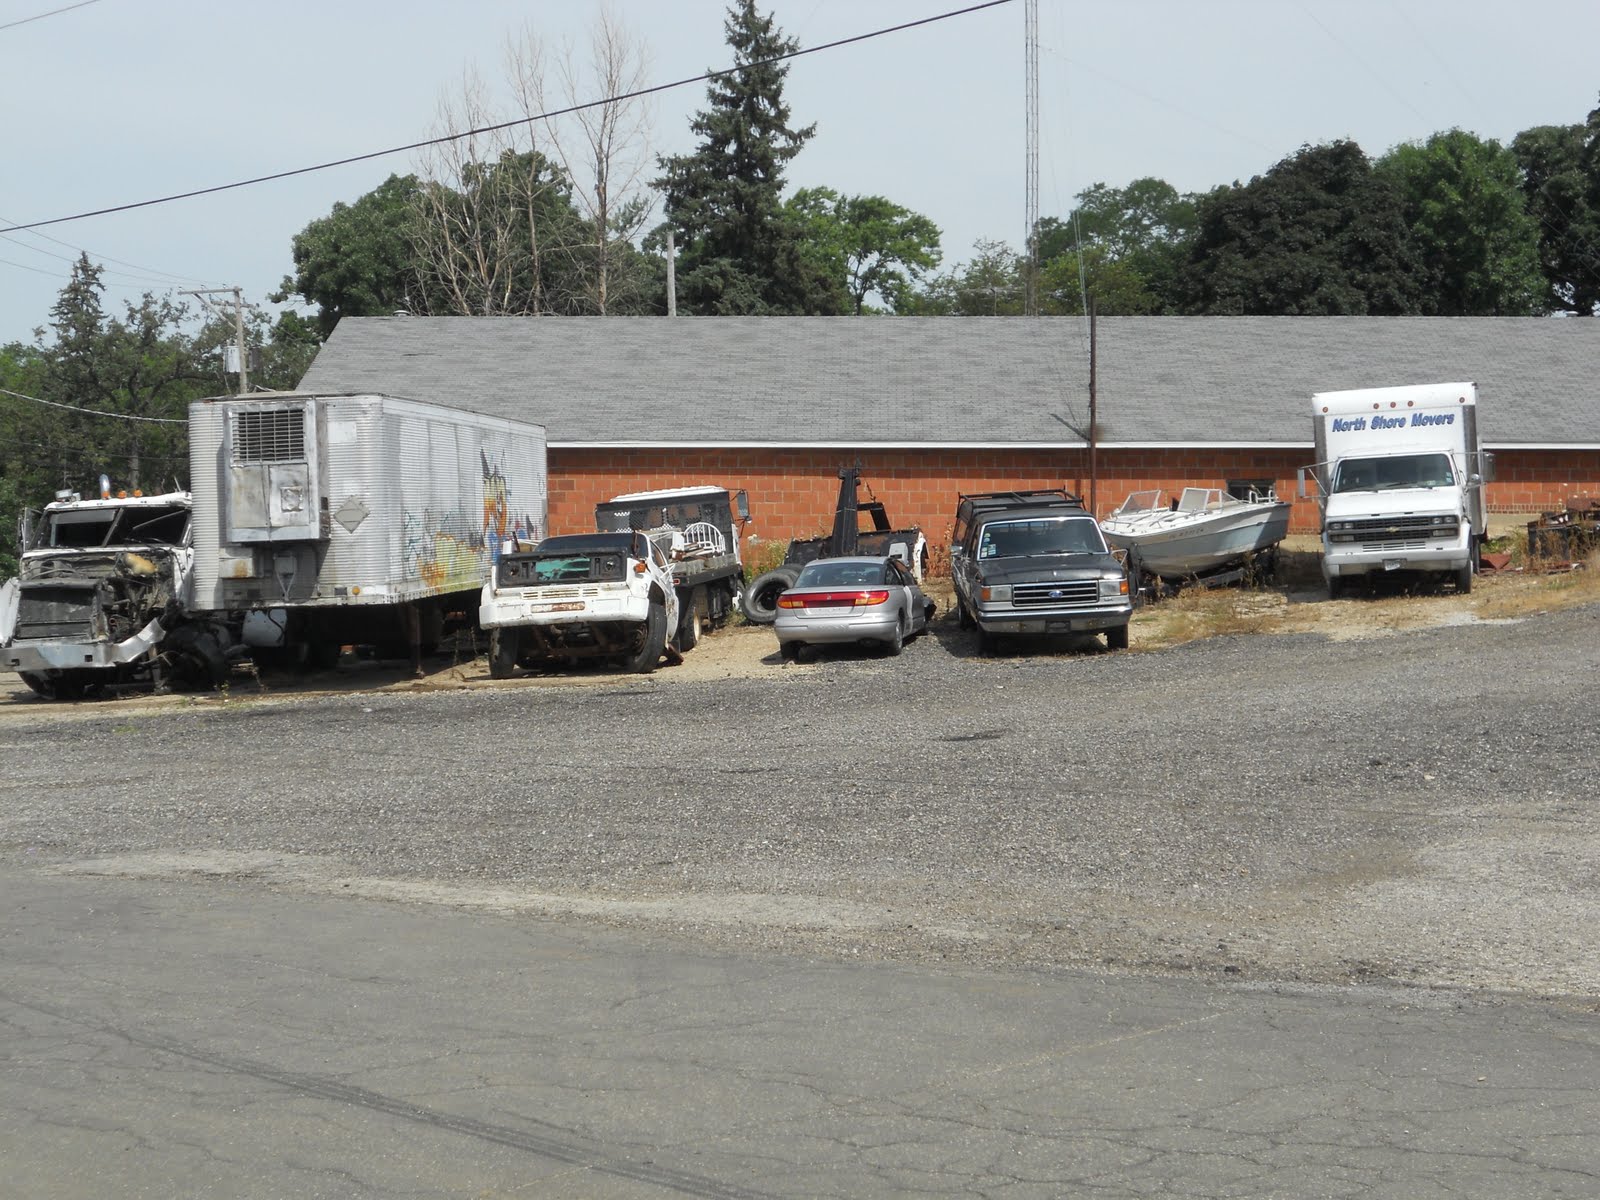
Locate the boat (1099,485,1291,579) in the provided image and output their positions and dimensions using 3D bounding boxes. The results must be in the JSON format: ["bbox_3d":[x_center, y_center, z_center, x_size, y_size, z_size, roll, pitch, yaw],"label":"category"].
[{"bbox_3d":[6.483,-1.115,31.950,1.604,1.151,3.163,0,7,37],"label":"boat"}]

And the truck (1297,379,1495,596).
[{"bbox_3d":[8.881,-1.574,29.573,2.379,3.083,2.316,1,10,18],"label":"truck"}]

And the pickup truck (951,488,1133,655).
[{"bbox_3d":[3.185,-0.214,27.162,1.901,2.040,4.477,-2,9,0],"label":"pickup truck"}]
